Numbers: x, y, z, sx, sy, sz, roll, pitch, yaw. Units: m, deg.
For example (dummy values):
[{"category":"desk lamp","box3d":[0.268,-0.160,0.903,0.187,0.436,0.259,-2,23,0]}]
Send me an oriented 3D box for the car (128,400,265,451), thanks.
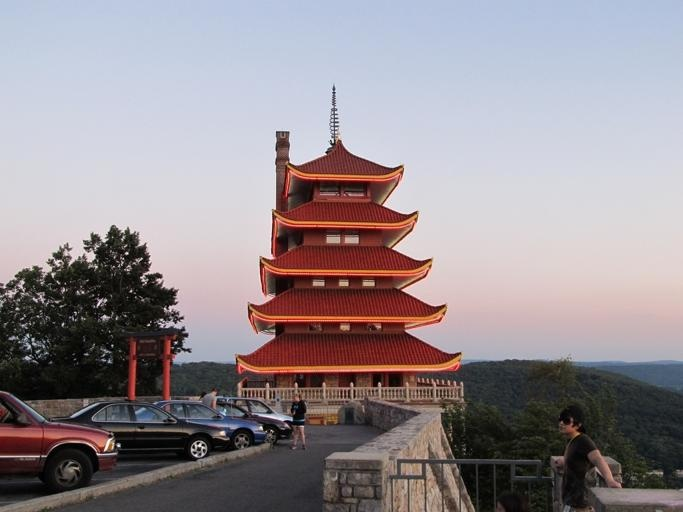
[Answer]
[{"category":"car","box3d":[-5.688,7.455,45.295,5.223,1.412,2.098,3,-8,-16]}]
